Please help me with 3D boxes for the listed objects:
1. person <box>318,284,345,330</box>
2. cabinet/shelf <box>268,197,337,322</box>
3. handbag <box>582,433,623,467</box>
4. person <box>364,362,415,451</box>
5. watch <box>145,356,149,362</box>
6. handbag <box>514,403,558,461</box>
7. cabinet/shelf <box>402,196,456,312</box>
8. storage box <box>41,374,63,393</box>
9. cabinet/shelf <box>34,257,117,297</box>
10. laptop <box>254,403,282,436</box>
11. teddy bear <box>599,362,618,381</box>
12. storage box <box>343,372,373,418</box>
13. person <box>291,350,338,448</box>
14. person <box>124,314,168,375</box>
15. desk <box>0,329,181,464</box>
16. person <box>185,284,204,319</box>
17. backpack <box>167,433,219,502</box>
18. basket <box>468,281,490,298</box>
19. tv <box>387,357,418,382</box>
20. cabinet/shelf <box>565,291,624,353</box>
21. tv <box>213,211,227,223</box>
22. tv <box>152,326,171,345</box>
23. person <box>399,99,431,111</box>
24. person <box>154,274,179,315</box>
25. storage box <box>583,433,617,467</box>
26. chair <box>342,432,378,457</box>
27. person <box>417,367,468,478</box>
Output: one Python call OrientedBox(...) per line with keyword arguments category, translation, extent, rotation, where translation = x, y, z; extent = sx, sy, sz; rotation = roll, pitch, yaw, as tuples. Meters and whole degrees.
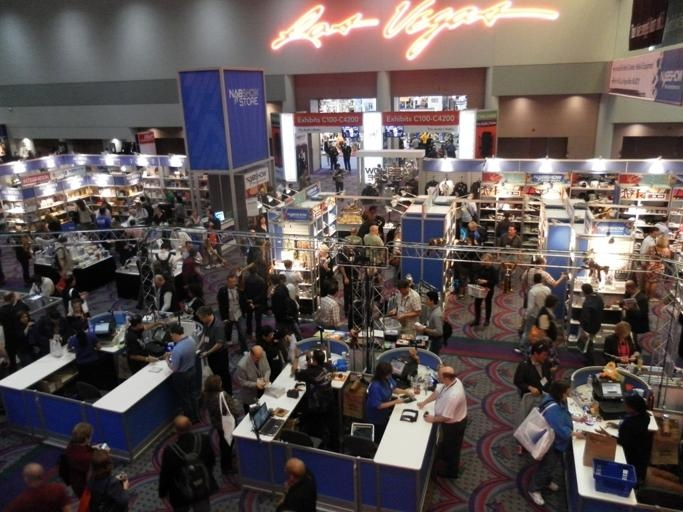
OrientedBox(category="person", translation=(-0.256, 1.121, 10.515), extent=(0.433, 0.772, 0.764), rotation=(-14, 29, -34))
OrientedBox(category="cabinet/shelf", translation=(-0.955, 0.154, 11.302), extent=(1.186, 3.372, 2.920), rotation=(-2, 3, 11))
OrientedBox(category="handbag", translation=(3.379, 2.521, 6.312), extent=(0.450, 0.422, 0.163), rotation=(2, 7, 17))
OrientedBox(category="person", translation=(0.706, 2.251, 7.148), extent=(0.837, 1.465, 0.672), rotation=(-2, 31, 0))
OrientedBox(category="watch", translation=(-3.392, 1.788, 8.497), extent=(0.020, 0.075, 0.079), rotation=(8, -25, -29))
OrientedBox(category="handbag", translation=(2.647, 2.437, 6.794), extent=(0.475, 0.641, 0.273), rotation=(28, -18, 9))
OrientedBox(category="cabinet/shelf", translation=(2.481, -0.848, 12.917), extent=(1.075, 2.853, 2.914), rotation=(9, 41, 17))
OrientedBox(category="storage box", translation=(-5.117, 2.281, 8.615), extent=(0.224, 0.196, 0.459), rotation=(4, 18, 6))
OrientedBox(category="cabinet/shelf", translation=(-7.878, 0.730, 14.252), extent=(2.138, 0.922, 2.100), rotation=(-6, 4, -29))
OrientedBox(category="laptop", translation=(-1.028, 2.318, 7.051), extent=(0.440, 0.382, 0.680), rotation=(-3, -11, 0))
OrientedBox(category="teddy bear", translation=(4.183, 1.783, 7.575), extent=(0.258, 0.125, 0.291), rotation=(9, 28, 36))
OrientedBox(category="storage box", translation=(0.234, 2.304, 7.948), extent=(0.287, 0.493, 0.518), rotation=(4, 9, 13))
OrientedBox(category="person", translation=(-0.407, 2.266, 7.663), extent=(0.570, 1.775, 0.602), rotation=(13, 23, 40))
OrientedBox(category="person", translation=(-3.569, 1.603, 8.763), extent=(0.623, 1.184, 0.743), rotation=(5, 23, -11))
OrientedBox(category="desk", translation=(-3.797, 2.025, 8.180), extent=(2.128, 0.826, 1.606), rotation=(8, 16, 26))
OrientedBox(category="person", translation=(-3.041, 0.932, 10.044), extent=(0.297, 0.800, 0.307), rotation=(-4, 37, -26))
OrientedBox(category="backpack", translation=(-1.881, 2.697, 6.052), extent=(0.584, 0.931, 0.312), rotation=(-6, 14, -21))
OrientedBox(category="basket", translation=(2.955, 0.763, 10.704), extent=(0.283, 0.206, 0.407), rotation=(5, 1, 2))
OrientedBox(category="tv", translation=(0.990, 1.814, 7.866), extent=(0.398, 0.392, 0.320), rotation=(6, 3, 41))
OrientedBox(category="cabinet/shelf", translation=(4.975, 1.324, 9.574), extent=(1.236, 1.199, 0.590), rotation=(0, 12, 2))
OrientedBox(category="tv", translation=(-3.781, -1.193, 15.043), extent=(0.389, 0.387, 0.142), rotation=(8, 10, 28))
OrientedBox(category="tv", translation=(-3.336, 1.456, 9.023), extent=(0.276, 0.120, 0.373), rotation=(-1, 16, -2))
OrientedBox(category="person", translation=(4.129, -8.725, 27.929), extent=(1.559, 0.712, 1.658), rotation=(1, 13, 7))
OrientedBox(category="person", translation=(-3.850, 0.859, 10.638), extent=(0.345, 0.965, 0.567), rotation=(-5, 21, -17))
OrientedBox(category="storage box", translation=(3.332, 2.511, 6.280), extent=(0.455, 0.424, 0.161), rotation=(1, 6, 17))
OrientedBox(category="chair", translation=(0.262, 2.596, 6.717), extent=(0.375, 0.449, 0.376), rotation=(8, 29, 16))
OrientedBox(category="person", translation=(1.460, 2.490, 7.143), extent=(0.804, 1.915, 0.827), rotation=(5, 33, 15))
